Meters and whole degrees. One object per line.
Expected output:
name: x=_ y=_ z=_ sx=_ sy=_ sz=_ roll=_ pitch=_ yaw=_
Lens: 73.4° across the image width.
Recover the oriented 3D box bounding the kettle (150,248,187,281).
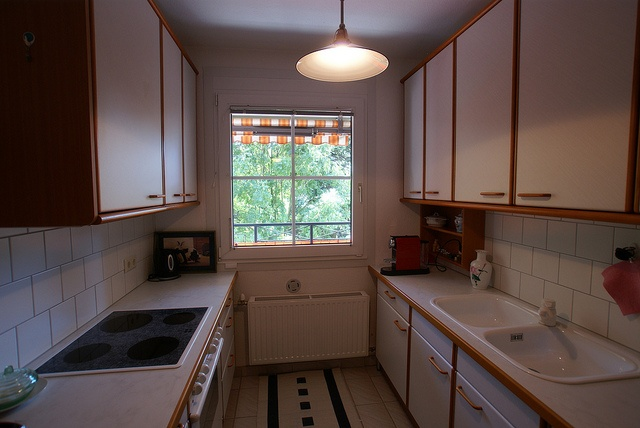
kettle: x=-1.195 y=0.389 z=3.391 sx=0.228 sy=0.219 sz=0.210 roll=-1 pitch=4 yaw=-2

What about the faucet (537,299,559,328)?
faucet: x=1.328 y=0.571 z=2.500 sx=0.108 sy=0.143 sz=0.143 roll=2 pitch=4 yaw=-8

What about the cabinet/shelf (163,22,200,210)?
cabinet/shelf: x=-0.995 y=-0.659 z=2.977 sx=0.142 sy=0.808 sz=0.411 roll=2 pitch=10 yaw=-5

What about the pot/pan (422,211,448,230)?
pot/pan: x=0.979 y=0.056 z=3.646 sx=0.189 sy=0.112 sz=0.272 roll=2 pitch=12 yaw=14
